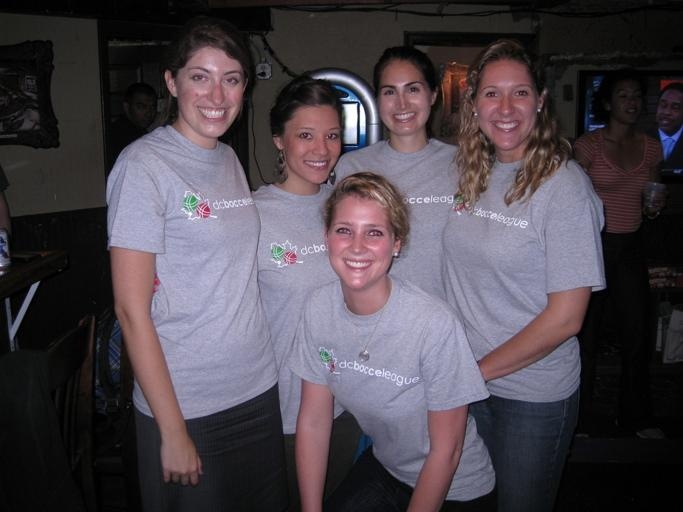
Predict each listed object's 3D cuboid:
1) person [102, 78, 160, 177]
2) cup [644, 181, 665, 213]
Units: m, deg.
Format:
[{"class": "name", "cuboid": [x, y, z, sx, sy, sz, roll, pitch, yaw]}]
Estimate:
[{"class": "person", "cuboid": [-2.118, -1.230, 6.462, 0.561, 1.282, 0.459, -23, 45, -39]}, {"class": "cup", "cuboid": [2.329, -0.429, 4.559, 0.143, 0.225, 0.148, -1, 11, 0]}]
